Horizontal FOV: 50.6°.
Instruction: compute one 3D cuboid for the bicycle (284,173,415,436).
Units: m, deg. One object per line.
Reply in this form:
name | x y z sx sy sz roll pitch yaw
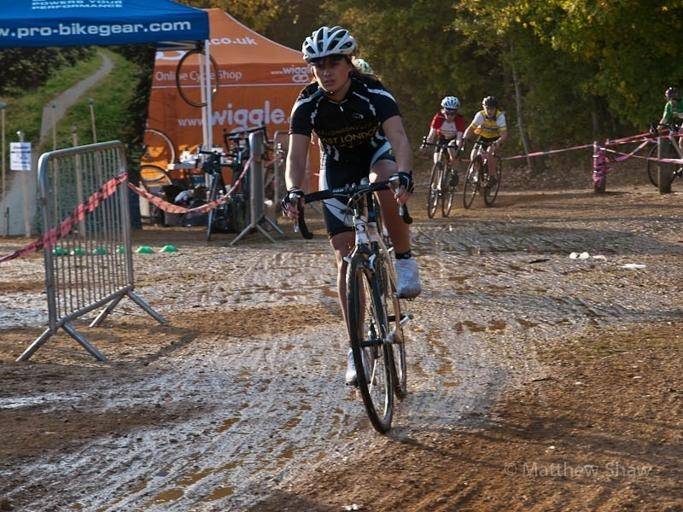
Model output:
bicycle | 0.130 0.276 4.589 0.645 1.579 1.104 -3 15 7
